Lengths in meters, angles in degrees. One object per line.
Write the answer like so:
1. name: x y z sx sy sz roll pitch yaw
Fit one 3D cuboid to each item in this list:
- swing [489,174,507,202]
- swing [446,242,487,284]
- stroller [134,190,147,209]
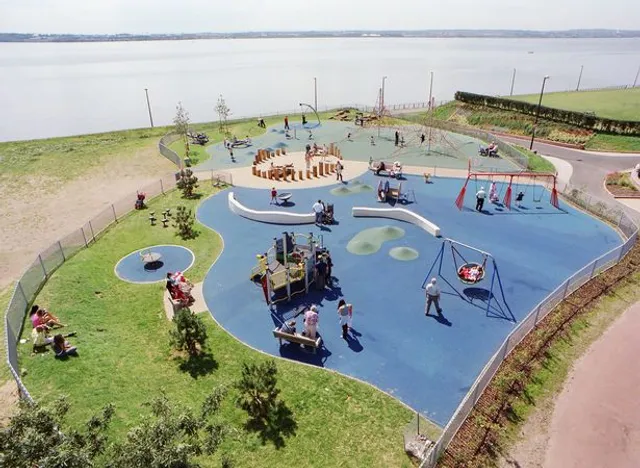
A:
1. swing: 15.245 -4.606 38.969 1.224 1.776 6.591 7 27 20
2. swing: 9.409 1.731 28.715 2.257 1.283 5.092 6 26 17
3. stroller: -14.518 -2.872 37.128 0.928 0.792 1.602 -19 52 20
